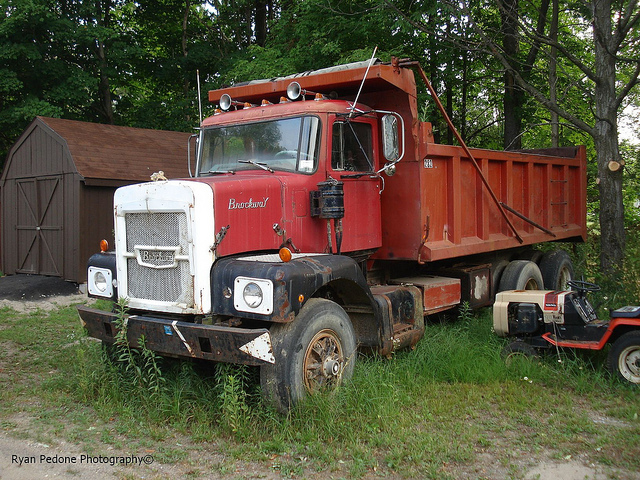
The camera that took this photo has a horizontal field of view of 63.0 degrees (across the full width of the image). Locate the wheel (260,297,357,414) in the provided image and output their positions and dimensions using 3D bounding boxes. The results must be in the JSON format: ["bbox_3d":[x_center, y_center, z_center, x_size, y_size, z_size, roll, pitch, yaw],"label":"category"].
[{"bbox_3d":[-0.172,1.355,6.001,0.472,1.308,1.122,-7,-6,42],"label":"wheel"}]

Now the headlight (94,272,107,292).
[{"bbox_3d":[-2.939,0.556,7.079,0.181,0.262,0.056,-14,-4,31],"label":"headlight"}]

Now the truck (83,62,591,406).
[{"bbox_3d":[1.774,0.015,9.657,4.298,5.128,10.426,-2,0,38],"label":"truck"}]

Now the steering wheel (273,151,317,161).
[{"bbox_3d":[-0.330,-1.117,6.928,0.600,0.118,0.054,3,14,16],"label":"steering wheel"}]
